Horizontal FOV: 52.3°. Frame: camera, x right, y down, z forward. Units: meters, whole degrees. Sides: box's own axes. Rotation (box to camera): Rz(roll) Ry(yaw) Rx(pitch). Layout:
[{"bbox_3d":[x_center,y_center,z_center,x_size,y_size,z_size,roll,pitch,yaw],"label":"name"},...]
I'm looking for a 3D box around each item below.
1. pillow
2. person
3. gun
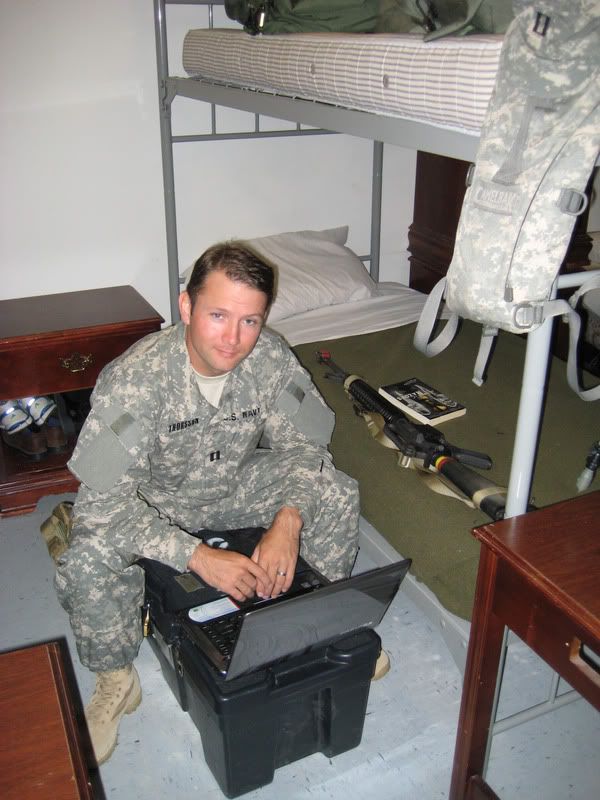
[{"bbox_3d":[-0.005,-0.560,3.027,0.694,0.202,0.592,-9,48,-27],"label":"pillow"},{"bbox_3d":[-0.269,0.193,1.664,0.902,1.102,0.755,-13,22,-35],"label":"person"},{"bbox_3d":[0.342,0.101,1.759,0.158,0.142,0.668,-44,45,5],"label":"gun"}]
